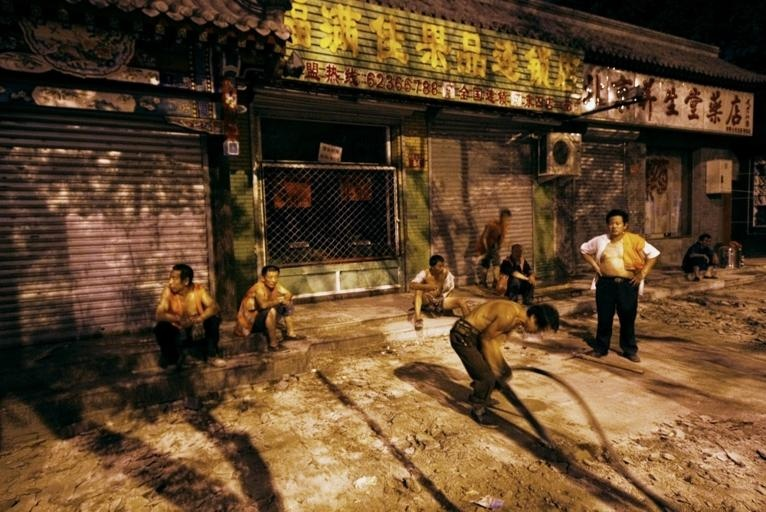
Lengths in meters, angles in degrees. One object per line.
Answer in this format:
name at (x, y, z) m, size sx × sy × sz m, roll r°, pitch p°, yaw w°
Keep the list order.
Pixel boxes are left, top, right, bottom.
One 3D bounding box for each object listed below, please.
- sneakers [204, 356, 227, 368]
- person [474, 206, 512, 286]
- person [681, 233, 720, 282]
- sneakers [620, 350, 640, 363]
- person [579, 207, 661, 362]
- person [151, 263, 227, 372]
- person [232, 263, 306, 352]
sneakers at (-2.675, 1.704, 7.919) m, size 0.268 × 0.122 × 0.159 m, roll -1°, pitch 7°, yaw 21°
person at (2.811, -0.223, 12.416) m, size 0.640 × 2.217 × 0.594 m, roll 6°, pitch 26°, yaw 13°
person at (9.256, -0.003, 14.150) m, size 1.098 × 1.291 × 0.660 m, roll -4°, pitch 6°, yaw -11°
sneakers at (4.438, 1.805, 8.778) m, size 0.125 × 0.153 × 0.346 m, roll -3°, pitch 0°, yaw -28°
person at (4.182, 0.526, 8.711) m, size 1.094 × 2.669 × 0.349 m, roll 0°, pitch 7°, yaw 23°
person at (-3.092, 0.954, 7.778) m, size 0.957 × 1.643 × 0.392 m, roll -5°, pitch 6°, yaw -21°
person at (-1.973, 0.795, 8.600) m, size 1.025 × 1.382 × 0.773 m, roll 9°, pitch 13°, yaw 24°
